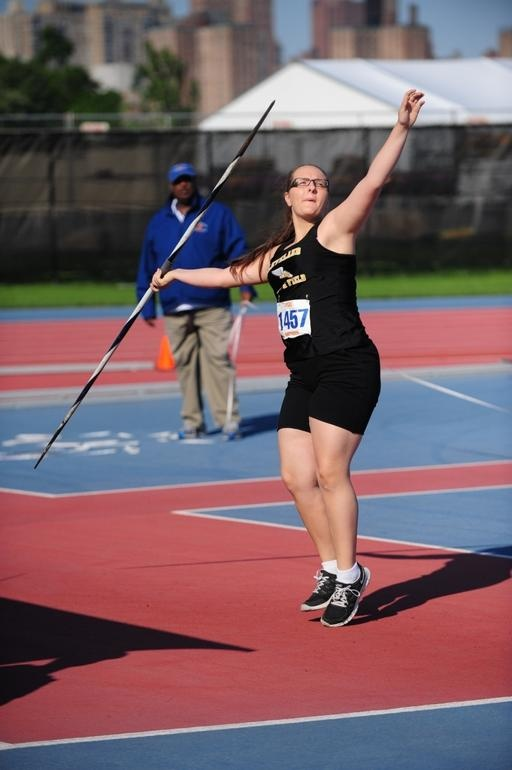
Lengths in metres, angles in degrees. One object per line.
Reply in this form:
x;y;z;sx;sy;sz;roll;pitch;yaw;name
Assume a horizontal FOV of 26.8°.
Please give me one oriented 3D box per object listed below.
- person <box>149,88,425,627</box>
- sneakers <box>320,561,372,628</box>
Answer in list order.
0.244;-0.094;4.319;0.429;2.118;0.906;-5;20;-19;person
0.339;0.840;4.267;0.129;0.101;0.294;15;42;2;sneakers
